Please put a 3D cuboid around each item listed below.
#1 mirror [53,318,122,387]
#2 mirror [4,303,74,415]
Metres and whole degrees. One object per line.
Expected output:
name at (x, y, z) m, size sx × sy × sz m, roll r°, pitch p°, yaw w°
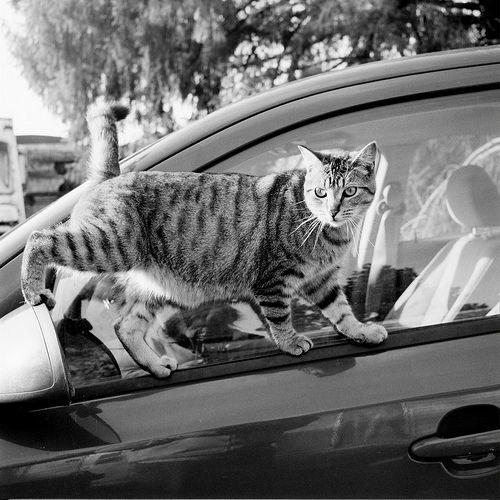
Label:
mirror at (-0.345, 0.217, 1.552) m, size 0.119 × 0.172 × 0.015 m, roll -3°, pitch 29°, yaw -10°
mirror at (-0.411, 0.210, 1.399) m, size 0.139 × 0.202 × 0.074 m, roll -10°, pitch -10°, yaw 10°
